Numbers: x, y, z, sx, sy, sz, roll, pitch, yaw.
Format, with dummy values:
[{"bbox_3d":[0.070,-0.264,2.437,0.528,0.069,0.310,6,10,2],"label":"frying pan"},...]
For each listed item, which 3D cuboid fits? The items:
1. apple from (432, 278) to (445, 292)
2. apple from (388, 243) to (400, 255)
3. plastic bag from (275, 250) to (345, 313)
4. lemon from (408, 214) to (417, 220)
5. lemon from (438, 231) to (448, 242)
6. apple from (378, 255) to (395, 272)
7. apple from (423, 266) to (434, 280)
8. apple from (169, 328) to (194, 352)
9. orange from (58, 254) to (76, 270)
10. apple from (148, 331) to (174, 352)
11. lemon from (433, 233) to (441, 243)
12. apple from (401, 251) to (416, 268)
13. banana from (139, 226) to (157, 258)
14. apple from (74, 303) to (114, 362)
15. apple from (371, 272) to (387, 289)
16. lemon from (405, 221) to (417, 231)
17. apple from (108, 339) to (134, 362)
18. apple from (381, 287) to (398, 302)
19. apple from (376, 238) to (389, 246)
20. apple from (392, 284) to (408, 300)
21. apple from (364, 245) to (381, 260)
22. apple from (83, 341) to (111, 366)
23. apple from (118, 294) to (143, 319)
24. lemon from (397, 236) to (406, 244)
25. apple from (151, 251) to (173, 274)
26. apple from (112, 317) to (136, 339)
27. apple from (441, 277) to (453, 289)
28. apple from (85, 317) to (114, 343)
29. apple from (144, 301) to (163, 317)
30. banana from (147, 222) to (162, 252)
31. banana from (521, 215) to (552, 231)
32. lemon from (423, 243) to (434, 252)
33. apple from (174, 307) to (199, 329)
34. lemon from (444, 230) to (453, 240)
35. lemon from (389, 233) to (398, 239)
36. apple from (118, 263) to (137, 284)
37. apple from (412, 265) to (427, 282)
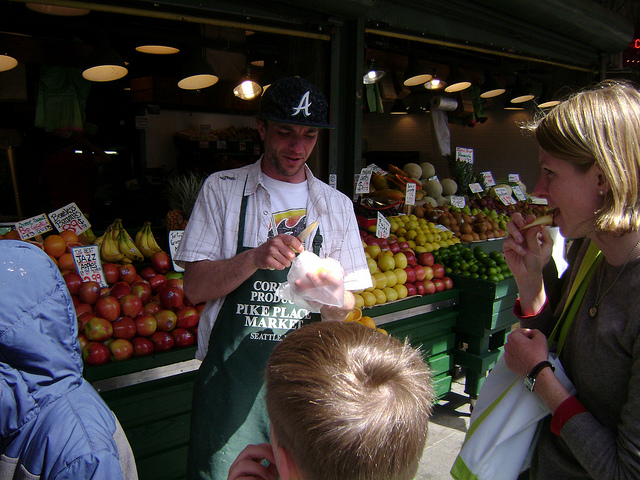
[{"bbox_3d":[1.003,0.382,3.917,0.088,0.096,0.094,4,-22,-3],"label":"apple"},{"bbox_3d":[0.640,0.071,3.938,0.076,0.103,0.080,-2,-9,-13],"label":"apple"},{"bbox_3d":[-0.041,0.199,1.911,0.199,0.137,0.262,29,-26,-13],"label":"plastic bag"},{"bbox_3d":[0.928,-0.234,4.636,0.061,0.049,0.078,-1,4,3],"label":"lemon"},{"bbox_3d":[1.197,-0.046,4.477,0.061,0.072,0.086,-4,3,-4],"label":"lemon"},{"bbox_3d":[0.526,0.173,3.650,0.107,0.136,0.111,-18,-32,34],"label":"apple"},{"bbox_3d":[0.915,0.268,3.847,0.084,0.114,0.090,0,6,2],"label":"apple"},{"bbox_3d":[-0.844,0.600,2.786,0.104,0.108,0.110,4,-16,-3],"label":"apple"},{"bbox_3d":[-1.738,0.149,3.156,0.063,0.082,0.068,-16,23,0],"label":"orange"},{"bbox_3d":[-0.940,0.596,2.725,0.101,0.110,0.107,-19,-35,-6],"label":"apple"},{"bbox_3d":[1.115,-0.024,4.393,0.065,0.076,0.083,0,-15,-4],"label":"lemon"},{"bbox_3d":[0.737,0.158,3.878,0.107,0.146,0.115,-1,5,3],"label":"apple"},{"bbox_3d":[-1.399,0.018,3.722,0.141,0.228,0.078,-39,-12,37],"label":"banana"},{"bbox_3d":[-1.288,0.504,2.661,0.147,0.148,0.166,17,-7,25],"label":"apple"},{"bbox_3d":[0.447,0.301,3.487,0.102,0.133,0.108,-1,1,5],"label":"apple"},{"bbox_3d":[0.871,-0.143,4.436,0.081,0.090,0.100,-2,29,-20],"label":"lemon"},{"bbox_3d":[-1.111,0.612,2.572,0.119,0.110,0.103,-17,12,-20],"label":"apple"},{"bbox_3d":[0.534,0.415,3.546,0.088,0.098,0.110,-4,35,-5],"label":"apple"},{"bbox_3d":[0.536,0.011,3.960,0.064,0.070,0.084,5,43,-8],"label":"apple"},{"bbox_3d":[0.626,0.396,3.625,0.095,0.122,0.103,-4,-31,6],"label":"apple"},{"bbox_3d":[0.430,0.083,3.712,0.125,0.116,0.120,5,-29,23],"label":"apple"},{"bbox_3d":[-1.219,0.614,2.528,0.120,0.120,0.116,17,25,-7],"label":"apple"},{"bbox_3d":[-1.149,0.397,2.781,0.136,0.127,0.121,-10,-8,27],"label":"apple"},{"bbox_3d":[0.763,-0.009,4.274,0.055,0.071,0.058,-1,10,-1],"label":"lemon"},{"bbox_3d":[-1.164,0.167,3.391,0.096,0.111,0.094,-49,-13,22],"label":"apple"},{"bbox_3d":[-1.133,0.508,2.662,0.112,0.117,0.104,-1,1,45],"label":"apple"},{"bbox_3d":[1.093,0.373,3.993,0.086,0.114,0.087,9,-21,-37],"label":"apple"},{"bbox_3d":[-1.247,0.506,2.601,0.139,0.137,0.131,-5,31,-25],"label":"apple"},{"bbox_3d":[-1.046,0.423,2.889,0.074,0.074,0.077,-27,-20,-12],"label":"apple"},{"bbox_3d":[-1.416,-0.024,3.925,0.061,0.279,0.101,-10,-11,-38],"label":"banana"},{"bbox_3d":[0.875,-0.077,1.861,0.117,0.038,0.037,-19,-9,-15],"label":"banana"},{"bbox_3d":[1.007,0.057,4.275,0.067,0.076,0.085,1,25,-7],"label":"lemon"},{"bbox_3d":[-0.827,0.484,2.877,0.145,0.127,0.124,1,-21,0],"label":"apple"},{"bbox_3d":[1.268,-0.055,4.545,0.071,0.096,0.076,-2,10,3],"label":"lemon"},{"bbox_3d":[0.690,-0.046,4.346,0.041,0.044,0.043,-2,-2,-4],"label":"lemon"},{"bbox_3d":[-1.344,0.229,3.205,0.109,0.124,0.112,-30,2,11],"label":"apple"},{"bbox_3d":[0.829,0.263,3.803,0.107,0.115,0.110,-2,-8,35],"label":"apple"}]
